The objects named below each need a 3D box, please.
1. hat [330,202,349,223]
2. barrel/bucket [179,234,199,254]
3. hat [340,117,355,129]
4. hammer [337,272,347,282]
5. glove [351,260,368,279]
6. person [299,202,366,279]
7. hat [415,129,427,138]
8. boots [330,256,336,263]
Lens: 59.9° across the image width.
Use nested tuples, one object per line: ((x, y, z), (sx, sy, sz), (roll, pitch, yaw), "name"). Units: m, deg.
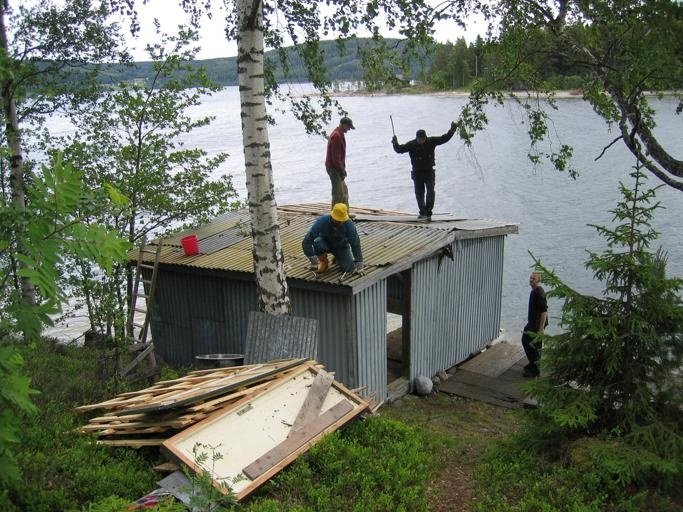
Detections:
((-0.041, -0.870, 11.896), (0.290, 0.203, 0.388), (-2, 30, -15), "hat")
((-3.622, -0.260, 14.180), (0.376, 0.485, 0.434), (-1, 16, -15), "barrel/bucket")
((0.134, -3.216, 14.304), (0.312, 0.315, 1.113), (-5, 8, 1), "hat")
((0.052, 0.430, 12.177), (0.166, 0.155, 0.155), (43, -17, -28), "hammer")
((0.399, 0.302, 12.296), (0.208, 0.394, 0.097), (-3, -11, 39), "glove")
((-0.139, -0.349, 12.270), (1.074, 1.462, 0.734), (0, 9, 29), "person")
((2.013, -3.055, 14.856), (0.217, 0.216, 0.575), (-3, 8, 9), "hat")
((-0.169, 0.089, 12.927), (0.110, 0.135, 0.128), (7, 8, 3), "boots")
